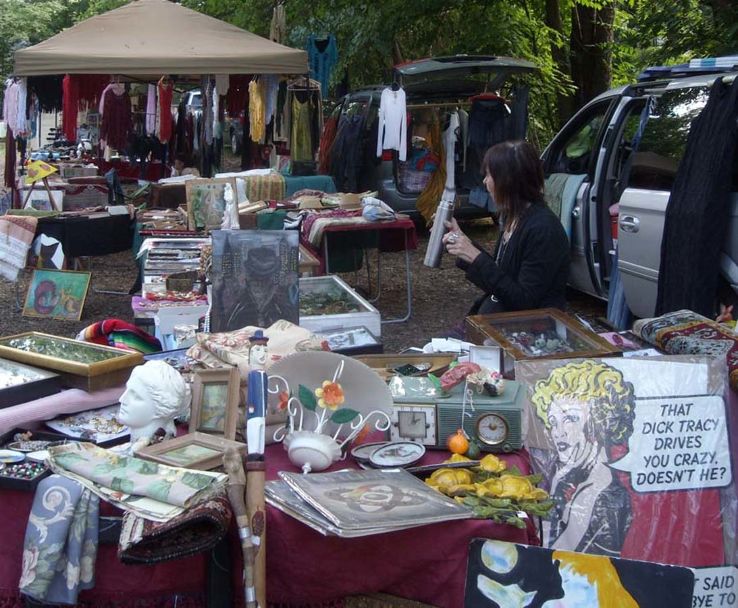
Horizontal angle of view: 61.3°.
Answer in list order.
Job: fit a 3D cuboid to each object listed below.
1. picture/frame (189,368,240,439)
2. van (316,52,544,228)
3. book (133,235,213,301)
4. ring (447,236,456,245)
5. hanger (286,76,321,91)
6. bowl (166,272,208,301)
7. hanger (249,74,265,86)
[{"bbox_3d":[-0.462,0.305,1.872,0.174,0.263,0.034,-3,-26,8],"label":"picture/frame"},{"bbox_3d":[0.914,-2.391,8.946,2.013,2.310,3.736,-3,27,-10],"label":"van"},{"bbox_3d":[-1.413,-0.295,4.489,0.458,0.335,0.694,-1,16,-7],"label":"book"},{"bbox_3d":[0.443,-0.343,3.337,0.036,0.043,0.030,5,-8,21],"label":"ring"},{"bbox_3d":[-0.945,-3.246,9.187,0.506,0.212,1.298,-2,15,-7],"label":"hanger"},{"bbox_3d":[-1.171,-0.100,4.040,0.255,0.146,0.191,-3,45,4],"label":"bowl"},{"bbox_3d":[-1.518,-3.053,8.518,0.269,0.070,0.279,-12,43,-31],"label":"hanger"}]
